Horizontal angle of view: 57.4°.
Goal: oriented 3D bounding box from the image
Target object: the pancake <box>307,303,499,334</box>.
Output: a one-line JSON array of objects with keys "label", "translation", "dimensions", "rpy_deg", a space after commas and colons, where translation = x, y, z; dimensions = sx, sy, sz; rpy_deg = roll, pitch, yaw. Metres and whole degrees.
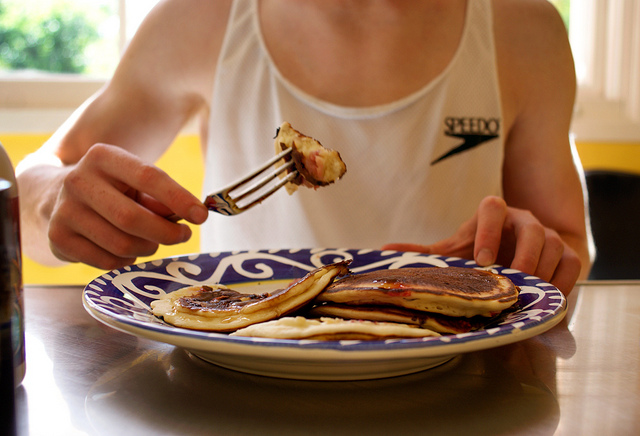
[{"label": "pancake", "translation": [0.125, 0.175, 1.054], "dimensions": [0.229, 0.039, 0.263], "rpy_deg": [10, -6, 20]}]

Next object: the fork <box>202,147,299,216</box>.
[{"label": "fork", "translation": [-0.147, -0.054, 1.143], "dimensions": [0.023, 0.045, 0.225], "rpy_deg": [-17, 11, 32]}]

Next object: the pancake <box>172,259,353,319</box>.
[{"label": "pancake", "translation": [-0.130, 0.142, 1.081], "dimensions": [0.378, 0.144, 0.271], "rpy_deg": [2, -7, -12]}]
